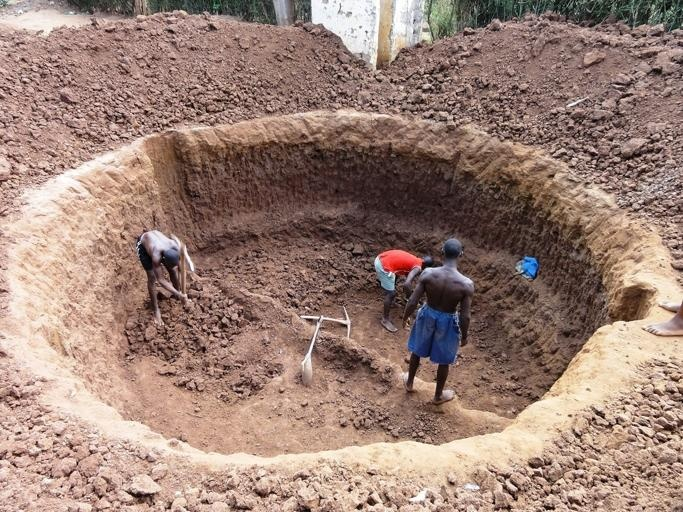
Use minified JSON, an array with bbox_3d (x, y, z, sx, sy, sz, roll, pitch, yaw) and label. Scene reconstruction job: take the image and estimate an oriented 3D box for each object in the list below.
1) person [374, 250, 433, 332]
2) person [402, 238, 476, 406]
[{"bbox_3d":[0.790,0.425,8.801,0.797,1.037,0.653,11,24,17],"label":"person"},{"bbox_3d":[1.034,0.735,7.410,0.701,1.981,0.513,15,28,17],"label":"person"}]
